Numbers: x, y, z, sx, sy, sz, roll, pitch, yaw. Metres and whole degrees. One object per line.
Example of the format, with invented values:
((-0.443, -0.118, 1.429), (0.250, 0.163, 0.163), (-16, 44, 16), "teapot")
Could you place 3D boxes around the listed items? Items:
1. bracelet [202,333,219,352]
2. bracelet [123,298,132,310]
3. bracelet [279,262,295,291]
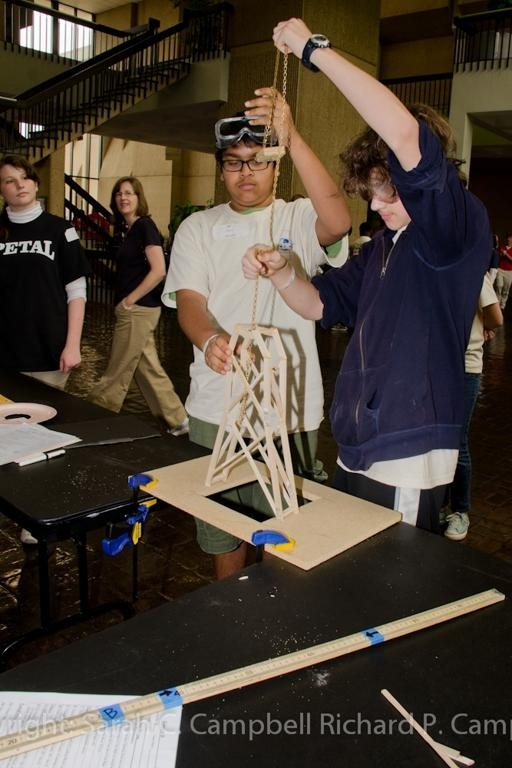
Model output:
((-0.110, -0.097, 1.486), (0.028, 0.038, 0.039), (27, 40, 7), "bracelet")
((-0.806, -0.496, 3.844), (0.050, 0.065, 0.026), (5, 9, 34), "bracelet")
((0.071, -0.261, 1.487), (0.013, 0.050, 0.037), (26, 57, 13), "bracelet")
